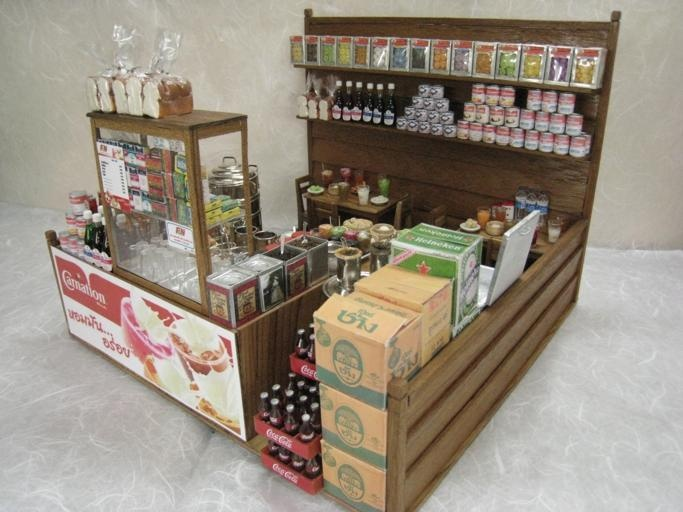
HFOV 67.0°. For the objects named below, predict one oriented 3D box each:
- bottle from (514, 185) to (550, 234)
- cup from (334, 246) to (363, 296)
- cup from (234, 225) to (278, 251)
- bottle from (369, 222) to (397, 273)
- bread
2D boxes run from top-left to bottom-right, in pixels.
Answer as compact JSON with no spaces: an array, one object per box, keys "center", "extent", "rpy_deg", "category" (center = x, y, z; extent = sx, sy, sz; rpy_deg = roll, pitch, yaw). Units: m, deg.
[{"center":[1.753,-0.439,4.766],"extent":[0.423,0.415,0.287],"rpy_deg":[11,29,25],"category":"bottle"},{"center":[0.040,0.099,3.474],"extent":[0.169,0.282,0.219],"rpy_deg":[3,19,8],"category":"cup"},{"center":[-0.662,-0.141,4.007],"extent":[0.274,0.181,0.145],"rpy_deg":[11,29,16],"category":"cup"},{"center":[0.285,-0.037,3.548],"extent":[0.173,0.317,0.307],"rpy_deg":[1,19,3],"category":"bottle"},{"center":[-1.402,-1.109,3.541],"extent":[0.733,0.302,0.293],"rpy_deg":[9,21,25],"category":"bread"}]
